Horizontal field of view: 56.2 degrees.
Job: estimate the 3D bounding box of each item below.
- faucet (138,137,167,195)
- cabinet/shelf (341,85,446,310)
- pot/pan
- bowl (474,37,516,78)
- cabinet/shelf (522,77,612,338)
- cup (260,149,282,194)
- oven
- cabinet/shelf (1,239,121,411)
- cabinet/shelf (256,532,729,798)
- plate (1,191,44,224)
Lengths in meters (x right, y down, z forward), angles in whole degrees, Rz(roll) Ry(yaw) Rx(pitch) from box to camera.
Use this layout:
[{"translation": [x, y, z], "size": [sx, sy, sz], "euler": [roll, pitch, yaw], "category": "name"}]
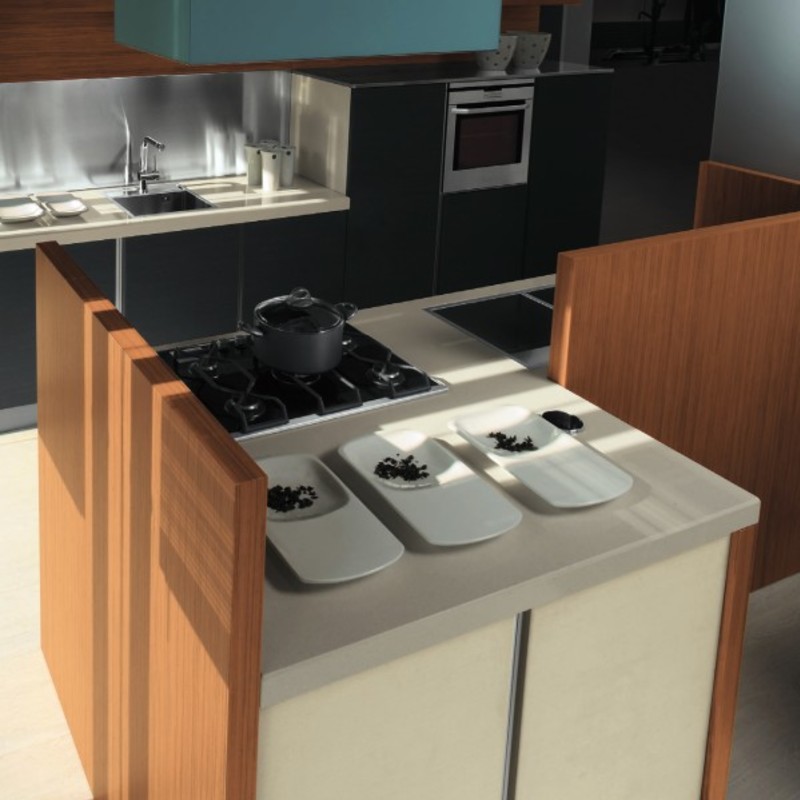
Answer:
[{"translation": [-1.208, -1.141, 3.666], "size": [0.148, 0.252, 0.174], "euler": [-6, 25, -13], "category": "faucet"}, {"translation": [-0.021, -1.013, 3.775], "size": [0.630, 1.046, 0.164], "euler": [-21, 32, -38], "category": "cabinet/shelf"}, {"translation": [-0.226, -0.155, 1.687], "size": [0.262, 0.105, 0.151], "euler": [0, 23, -8], "category": "pot/pan"}, {"translation": [0.527, -1.885, 4.126], "size": [0.213, 0.213, 0.390], "euler": [3, 23, 7], "category": "bowl"}, {"translation": [0.966, -1.293, 4.357], "size": [0.694, 1.135, 0.246], "euler": [-19, 31, -35], "category": "cabinet/shelf"}, {"translation": [-0.625, -1.111, 3.659], "size": [0.095, 0.199, 0.132], "euler": [0, 24, -1], "category": "cup"}, {"translation": [0.608, -1.395, 4.089], "size": [0.405, 0.492, 0.599], "euler": [-8, 16, -43], "category": "oven"}, {"translation": [-1.538, -0.330, 3.103], "size": [0.667, 0.627, 0.164], "euler": [-11, 27, -34], "category": "cabinet/shelf"}, {"translation": [0.134, 0.416, 1.208], "size": [0.626, 0.452, 0.206], "euler": [-11, 31, -26], "category": "cabinet/shelf"}, {"translation": [-1.607, -0.814, 3.209], "size": [0.166, 0.077, 0.420], "euler": [-10, 24, -22], "category": "plate"}]
